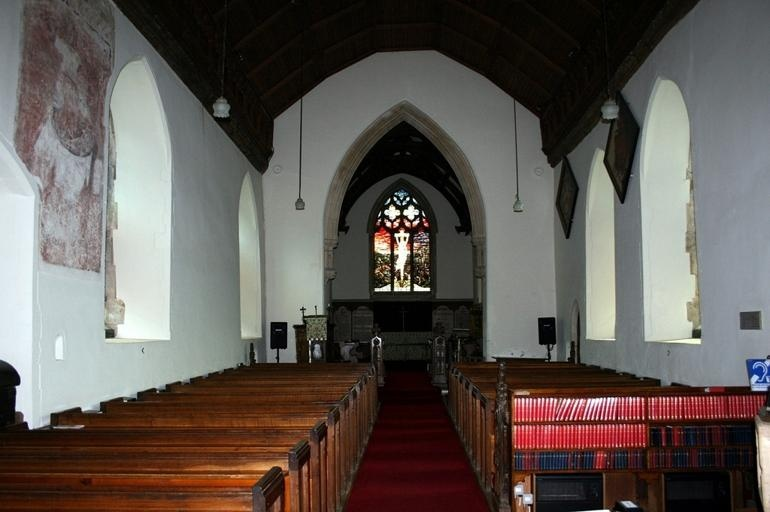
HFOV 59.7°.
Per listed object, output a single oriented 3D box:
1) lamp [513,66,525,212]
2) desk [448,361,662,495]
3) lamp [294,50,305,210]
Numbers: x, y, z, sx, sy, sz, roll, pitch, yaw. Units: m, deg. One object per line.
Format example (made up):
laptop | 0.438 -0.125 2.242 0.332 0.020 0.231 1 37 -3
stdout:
lamp | 3.011 -2.335 15.402 0.198 2.659 0.263 -2 -6 11
desk | 2.041 2.531 9.148 1.873 0.768 1.997 -1 -1 -7
lamp | -1.956 -2.390 15.374 0.204 2.679 0.236 0 -6 -8
